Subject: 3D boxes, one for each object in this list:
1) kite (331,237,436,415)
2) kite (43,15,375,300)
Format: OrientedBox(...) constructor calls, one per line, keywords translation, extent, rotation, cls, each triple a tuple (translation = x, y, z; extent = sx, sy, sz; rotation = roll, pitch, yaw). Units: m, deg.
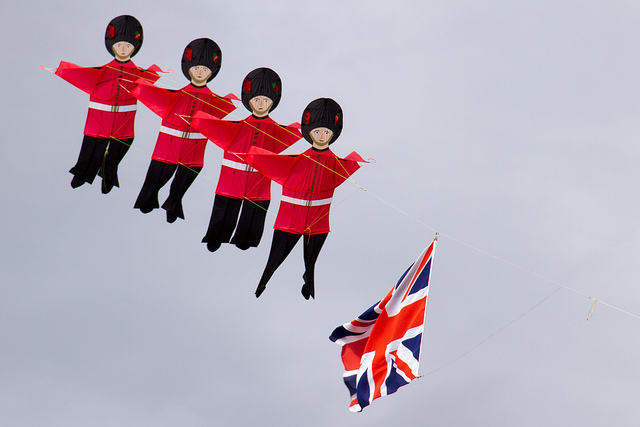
OrientedBox(translation=(0.959, 1.719, 15.524), extent=(0.875, 1.015, 2.011), rotation=(39, -76, -22), cls="kite")
OrientedBox(translation=(-1.233, -0.890, 15.188), extent=(3.126, 0.199, 2.139), rotation=(22, -78, 1), cls="kite")
